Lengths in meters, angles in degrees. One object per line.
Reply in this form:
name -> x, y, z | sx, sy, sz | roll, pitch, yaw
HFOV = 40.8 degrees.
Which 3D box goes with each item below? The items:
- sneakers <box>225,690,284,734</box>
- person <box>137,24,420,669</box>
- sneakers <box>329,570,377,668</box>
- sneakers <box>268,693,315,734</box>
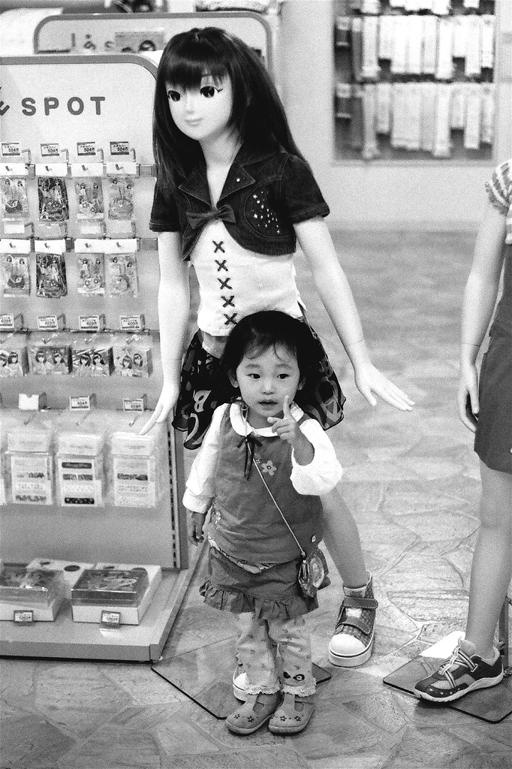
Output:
sneakers -> -0.002, 0.683, 1.471 | 0.047, 0.055, 0.130 | 5, 8, 40
person -> 0.025, -0.041, 1.403 | 0.512, 1.259, 0.387 | -4, 16, 7
sneakers -> 0.242, 0.602, 1.693 | 0.078, 0.095, 0.214 | -1, 5, 14
sneakers -> 0.067, 0.673, 1.434 | 0.044, 0.052, 0.123 | -2, -1, 15
